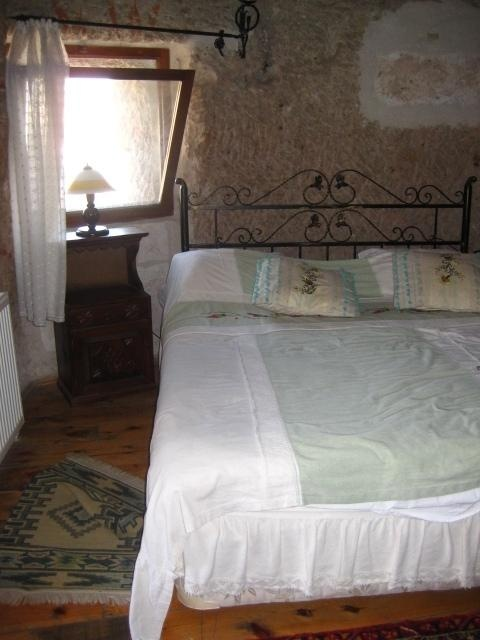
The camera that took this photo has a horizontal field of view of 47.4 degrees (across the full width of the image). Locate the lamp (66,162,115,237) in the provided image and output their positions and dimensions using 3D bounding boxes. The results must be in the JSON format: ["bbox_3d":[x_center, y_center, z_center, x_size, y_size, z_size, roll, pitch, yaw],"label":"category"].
[{"bbox_3d":[-0.796,-0.624,2.892,0.242,0.372,0.280,-5,9,-27],"label":"lamp"}]

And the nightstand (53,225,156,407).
[{"bbox_3d":[-0.744,-0.046,3.001,0.514,0.917,0.400,-4,9,-19],"label":"nightstand"}]
